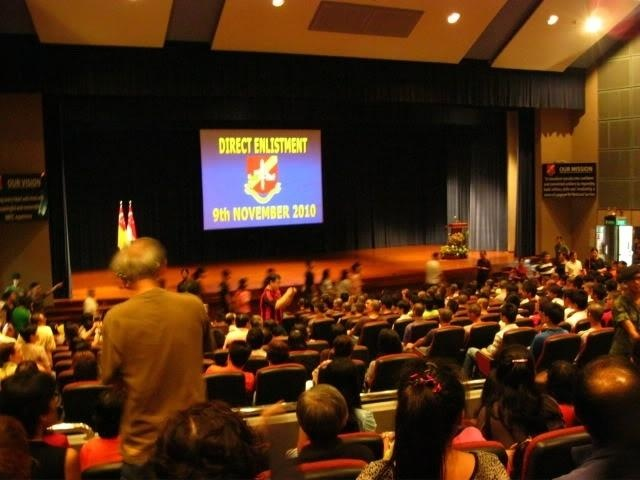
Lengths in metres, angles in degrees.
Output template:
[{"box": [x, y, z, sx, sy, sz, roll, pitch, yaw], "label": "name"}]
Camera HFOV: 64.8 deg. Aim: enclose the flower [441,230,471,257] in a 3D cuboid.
[{"box": [4.449, 0.202, 16.487, 0.633, 0.361, 0.867, 3, 22, 11], "label": "flower"}]
